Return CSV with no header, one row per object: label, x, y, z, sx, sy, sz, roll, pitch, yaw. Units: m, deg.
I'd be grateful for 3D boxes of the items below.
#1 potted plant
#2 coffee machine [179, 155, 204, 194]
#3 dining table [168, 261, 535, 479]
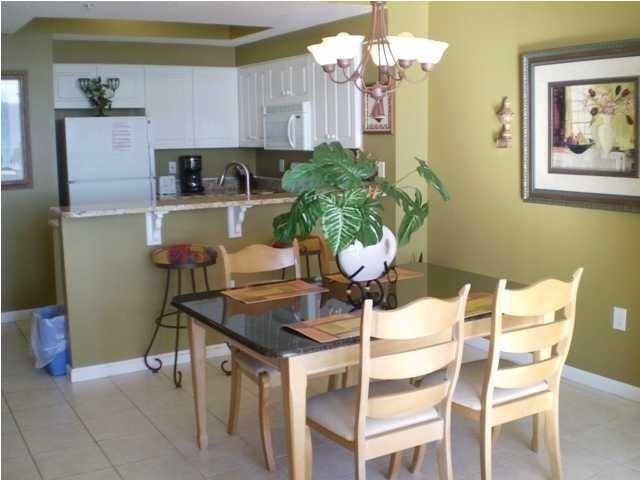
potted plant,0.195,-0.151,2.639,0.826,0.729,0.857,3,12,22
coffee machine,-1.657,-0.831,6.267,0.337,0.483,0.255,7,14,36
dining table,-0.030,0.529,2.418,1.409,0.752,1.055,-4,5,-32
